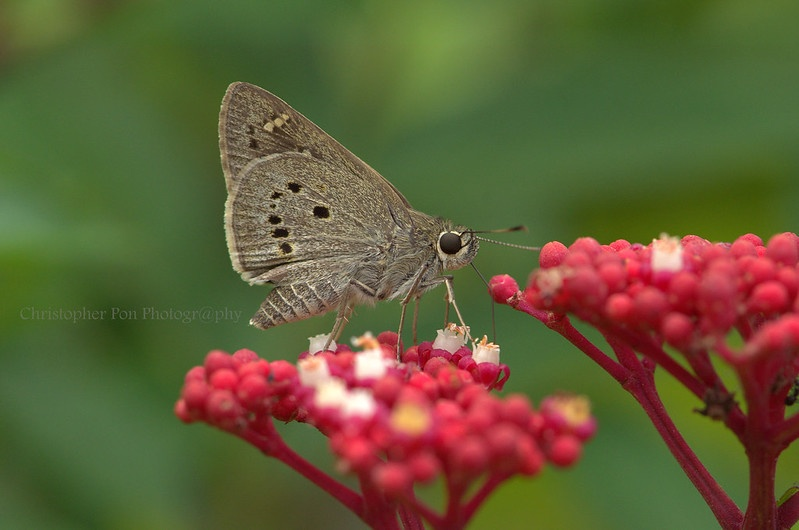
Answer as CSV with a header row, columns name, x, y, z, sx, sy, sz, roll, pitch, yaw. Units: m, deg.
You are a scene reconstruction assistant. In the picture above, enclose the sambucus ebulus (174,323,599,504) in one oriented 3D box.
name,x,y,z,sx,sy,sz,roll,pitch,yaw
sambucus ebulus,0.000,0.502,2.484,0.972,0.997,0.382,-1,-73,-42
